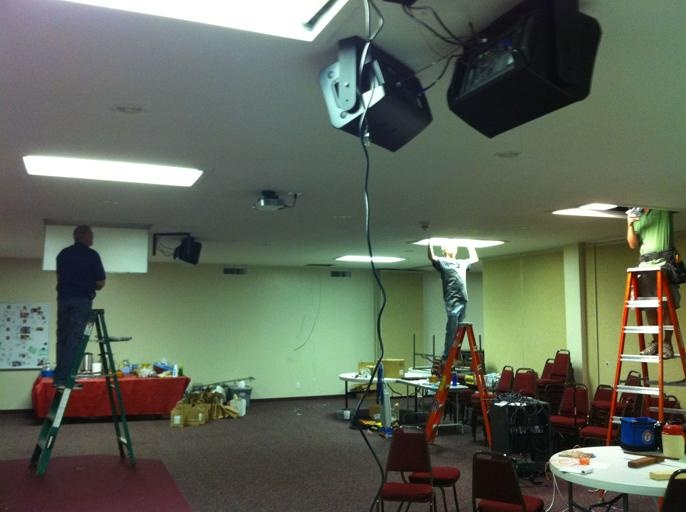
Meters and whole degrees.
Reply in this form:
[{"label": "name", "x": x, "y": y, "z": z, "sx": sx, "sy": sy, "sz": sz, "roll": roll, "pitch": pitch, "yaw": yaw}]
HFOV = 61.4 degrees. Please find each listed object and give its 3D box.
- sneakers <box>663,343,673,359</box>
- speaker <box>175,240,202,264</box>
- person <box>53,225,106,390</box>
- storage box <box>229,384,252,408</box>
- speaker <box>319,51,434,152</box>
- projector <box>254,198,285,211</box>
[{"label": "sneakers", "x": 3.286, "y": 0.951, "z": 5.820, "sx": 0.096, "sy": 0.121, "sz": 0.288, "roll": -6, "pitch": -20, "yaw": 28}, {"label": "speaker", "x": -2.211, "y": -0.068, "z": 8.319, "sx": 0.350, "sy": 0.353, "sz": 0.371, "roll": 4, "pitch": -3, "yaw": -11}, {"label": "person", "x": -2.774, "y": 0.467, "z": 6.074, "sx": 0.650, "sy": 1.722, "sz": 0.407, "roll": -9, "pitch": -13, "yaw": 42}, {"label": "storage box", "x": -2.021, "y": 2.776, "z": 11.478, "sx": 0.442, "sy": 0.349, "sz": 0.411, "roll": 6, "pitch": -18, "yaw": -20}, {"label": "speaker", "x": 0.233, "y": -0.975, "z": 3.570, "sx": 0.671, "sy": 0.509, "sz": 0.391, "roll": 6, "pitch": -11, "yaw": -31}, {"label": "projector", "x": -0.747, "y": -0.540, "z": 5.937, "sx": 0.303, "sy": 0.096, "sz": 0.153, "roll": 1, "pitch": -10, "yaw": -8}]
